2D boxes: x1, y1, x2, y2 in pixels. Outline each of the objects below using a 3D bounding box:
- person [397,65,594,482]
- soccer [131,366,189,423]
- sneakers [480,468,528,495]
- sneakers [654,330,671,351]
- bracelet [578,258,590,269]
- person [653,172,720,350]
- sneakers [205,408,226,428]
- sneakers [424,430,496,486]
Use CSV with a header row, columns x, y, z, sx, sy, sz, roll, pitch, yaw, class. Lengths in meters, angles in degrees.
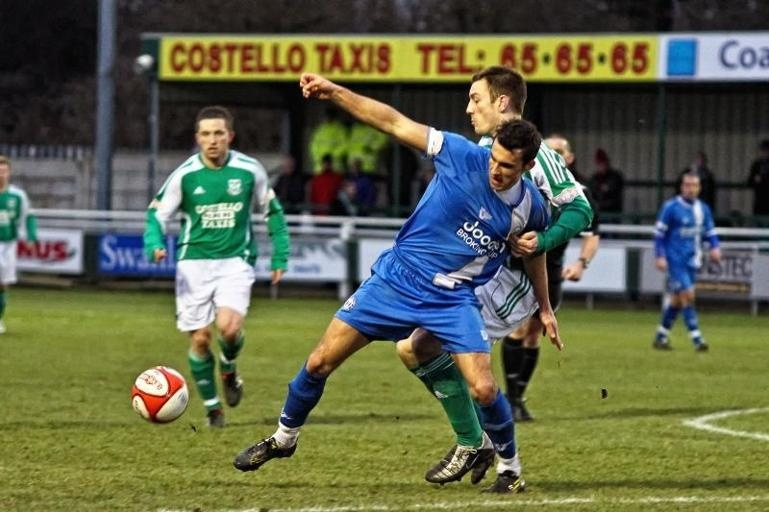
x,y,z,sx,sy,sz,roll,pitch,yaw,class
0.832,0.249,9.874,1.175,2.939,1.011,3,-4,13,person
-1.709,1.104,10.500,0.455,0.479,0.456,0,0,-35,soccer
0.867,1.641,9.824,0.327,0.149,0.125,1,-5,-8,sneakers
2.112,0.663,10.348,0.146,0.156,0.096,1,-1,9,sneakers
1.710,0.066,11.582,0.025,0.091,0.090,-10,42,-28,bracelet
2.295,0.045,10.308,0.496,1.314,0.350,3,15,12,person
-1.364,1.331,11.059,0.124,0.146,0.145,4,-13,-20,sneakers
0.562,1.492,9.921,0.633,0.246,0.221,-21,20,-33,sneakers
